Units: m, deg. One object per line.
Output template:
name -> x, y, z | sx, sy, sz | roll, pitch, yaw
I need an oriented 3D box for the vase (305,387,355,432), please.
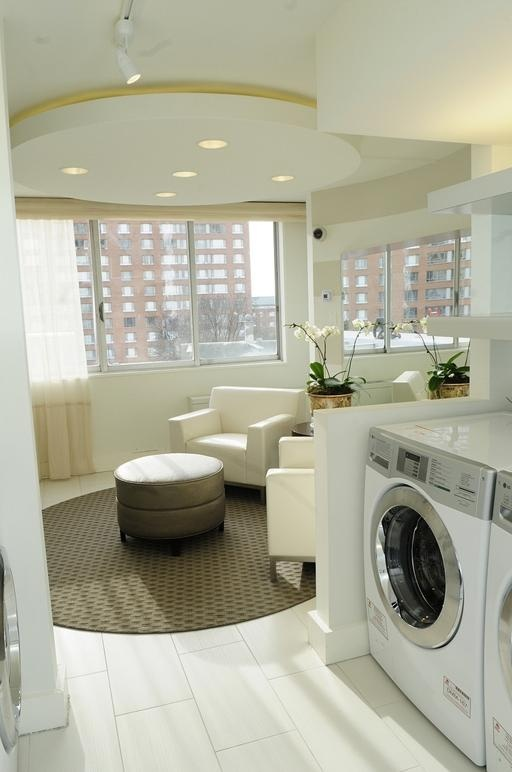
vase -> 0.426, 0.129, 3.262 | 0.260, 0.225, 0.262 | 0, -2, 10

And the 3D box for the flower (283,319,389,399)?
flower -> 0.674, -0.236, 4.500 | 0.721, 0.729, 0.492 | 3, 11, 15

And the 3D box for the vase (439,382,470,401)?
vase -> 1.217, 0.024, 3.339 | 0.187, 0.144, 0.202 | -1, 1, -7

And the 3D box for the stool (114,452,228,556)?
stool -> -0.453, 0.607, 3.360 | 0.540, 0.373, 0.554 | 8, 17, 31

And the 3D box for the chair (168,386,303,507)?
chair -> -0.116, 0.330, 4.567 | 1.041, 0.858, 0.808 | 3, 5, 34
